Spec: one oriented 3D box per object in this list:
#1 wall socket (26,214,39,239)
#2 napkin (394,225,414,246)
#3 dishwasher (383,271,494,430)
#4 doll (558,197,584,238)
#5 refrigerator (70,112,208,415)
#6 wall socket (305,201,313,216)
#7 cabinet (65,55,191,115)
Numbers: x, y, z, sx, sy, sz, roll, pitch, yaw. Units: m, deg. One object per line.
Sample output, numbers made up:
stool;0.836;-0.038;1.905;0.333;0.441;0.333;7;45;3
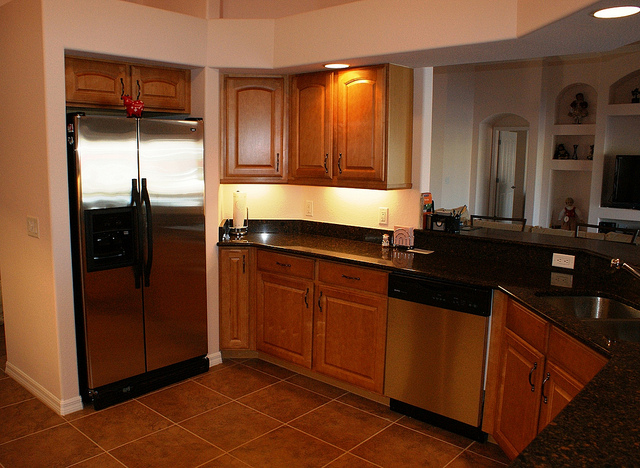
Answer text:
wall socket;-2.170;-0.057;3.706;0.169;0.172;0.018;7;9;39
napkin;0.728;0.024;4.215;0.152;0.148;0.050;5;8;35
dishwasher;0.833;0.820;3.546;0.758;0.998;0.139;8;17;33
doll;4.029;-0.216;7.827;0.381;0.773;0.196;3;31;35
refrigerator;-1.429;0.173;3.938;1.171;2.236;0.316;-14;19;-41
wall socket;-0.100;-0.253;4.869;0.120;0.200;0.020;8;11;38
cabinet;-1.623;-1.244;4.104;0.974;0.346;0.292;-5;23;-35
